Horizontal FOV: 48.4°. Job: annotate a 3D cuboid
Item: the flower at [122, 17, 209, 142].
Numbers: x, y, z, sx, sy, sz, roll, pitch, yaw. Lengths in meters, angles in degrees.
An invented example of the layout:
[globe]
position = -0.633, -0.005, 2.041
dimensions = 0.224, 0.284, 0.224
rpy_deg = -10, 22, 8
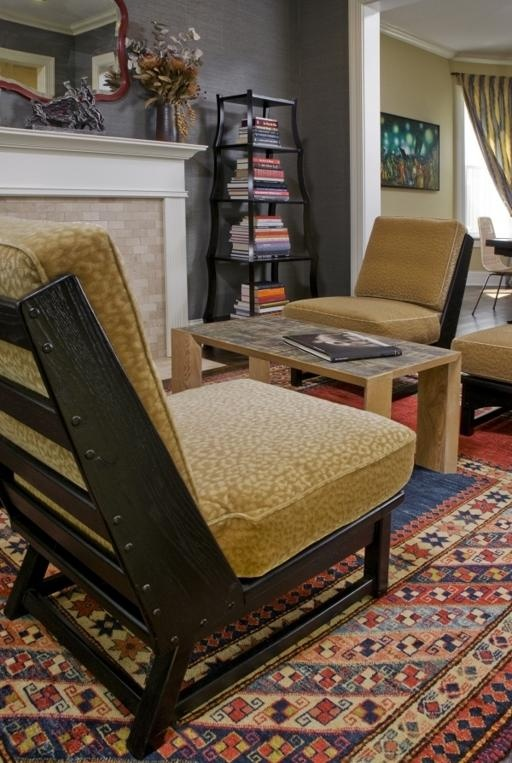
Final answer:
[flower]
position = -0.541, -1.889, 3.637
dimensions = 0.433, 0.615, 0.482
rpy_deg = 11, 19, 39

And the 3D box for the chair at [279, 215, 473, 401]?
[chair]
position = 0.616, -0.390, 2.857
dimensions = 0.780, 0.841, 0.610
rpy_deg = -15, 23, -41
